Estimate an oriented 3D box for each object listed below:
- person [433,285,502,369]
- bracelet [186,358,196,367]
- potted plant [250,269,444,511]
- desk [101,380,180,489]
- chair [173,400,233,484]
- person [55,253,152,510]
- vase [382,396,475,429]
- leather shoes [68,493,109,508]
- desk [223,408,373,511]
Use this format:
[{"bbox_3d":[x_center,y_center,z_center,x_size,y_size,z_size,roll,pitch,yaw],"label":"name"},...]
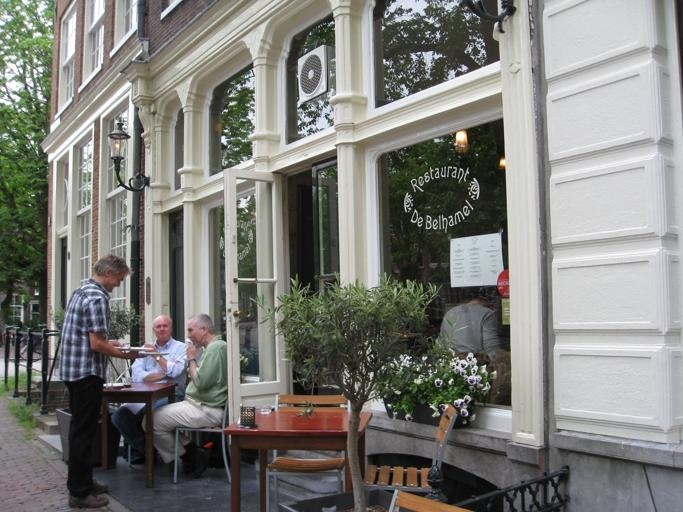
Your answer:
[{"bbox_3d":[1.107,0.614,5.665,0.221,0.752,0.689,4,-2,-39],"label":"person"},{"bbox_3d":[-1.749,1.230,7.624,0.083,0.097,0.090,-3,-8,11],"label":"bracelet"},{"bbox_3d":[0.051,0.879,4.060,0.906,1.439,0.429,1,-7,-6],"label":"potted plant"},{"bbox_3d":[-2.377,1.836,7.399,0.844,0.957,1.174,-2,-3,9],"label":"desk"},{"bbox_3d":[-1.565,1.996,7.424,0.592,1.046,0.563,3,-2,-5],"label":"chair"},{"bbox_3d":[-2.437,1.190,6.406,0.585,2.460,0.325,3,-8,-21],"label":"person"},{"bbox_3d":[0.807,1.412,5.860,0.372,0.142,0.657,5,-7,-41],"label":"vase"},{"bbox_3d":[-2.452,2.363,6.370,0.347,0.176,0.156,1,-3,-13],"label":"leather shoes"},{"bbox_3d":[-0.345,1.455,5.713,1.080,1.154,1.166,0,-5,5],"label":"desk"}]
